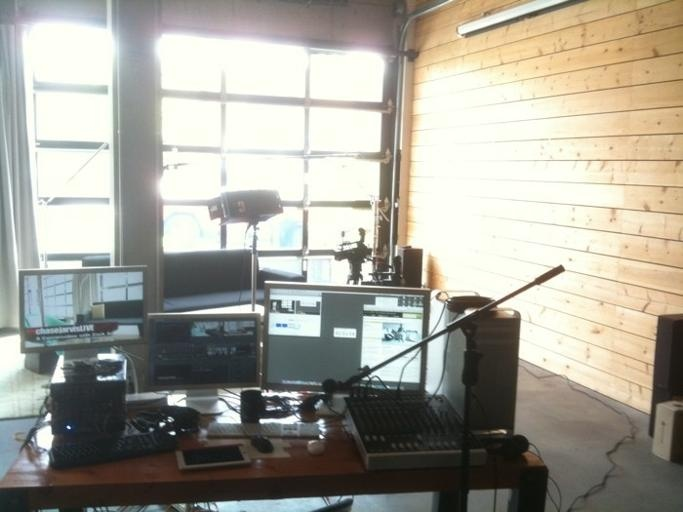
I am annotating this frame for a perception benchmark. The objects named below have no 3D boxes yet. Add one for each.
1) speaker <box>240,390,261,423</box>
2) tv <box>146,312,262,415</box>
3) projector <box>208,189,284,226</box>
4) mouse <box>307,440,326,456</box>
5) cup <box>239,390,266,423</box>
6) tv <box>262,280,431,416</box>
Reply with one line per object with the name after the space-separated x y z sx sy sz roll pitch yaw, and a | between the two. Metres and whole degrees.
-0.431 0.721 2.956 0.119 0.172 0.113 2 -5 -12 | speaker
-0.689 0.524 3.014 0.510 0.410 0.208 1 0 -4 | tv
-0.739 -0.395 4.798 0.424 0.213 0.319 -10 7 -21 | projector
-0.115 0.856 2.726 0.059 0.019 0.057 -1 13 -13 | mouse
-0.426 0.725 2.919 0.129 0.116 0.217 -4 10 -9 | cup
0.003 0.414 3.051 0.808 0.525 0.057 1 -3 10 | tv
